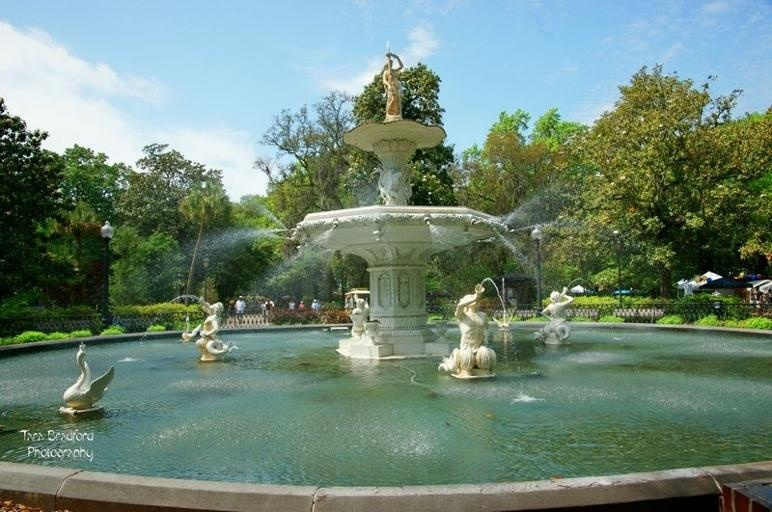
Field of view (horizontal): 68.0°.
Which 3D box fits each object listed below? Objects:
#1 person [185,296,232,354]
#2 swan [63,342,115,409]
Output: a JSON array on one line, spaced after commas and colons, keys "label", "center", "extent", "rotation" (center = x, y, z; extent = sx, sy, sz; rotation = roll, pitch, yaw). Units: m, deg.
[{"label": "person", "center": [-4.818, 2.065, 15.936], "extent": [0.810, 1.716, 1.086], "rotation": [-1, -6, -20]}, {"label": "swan", "center": [-5.804, 2.351, 11.096], "extent": [0.736, 1.297, 1.232], "rotation": [1, -7, -33]}]
